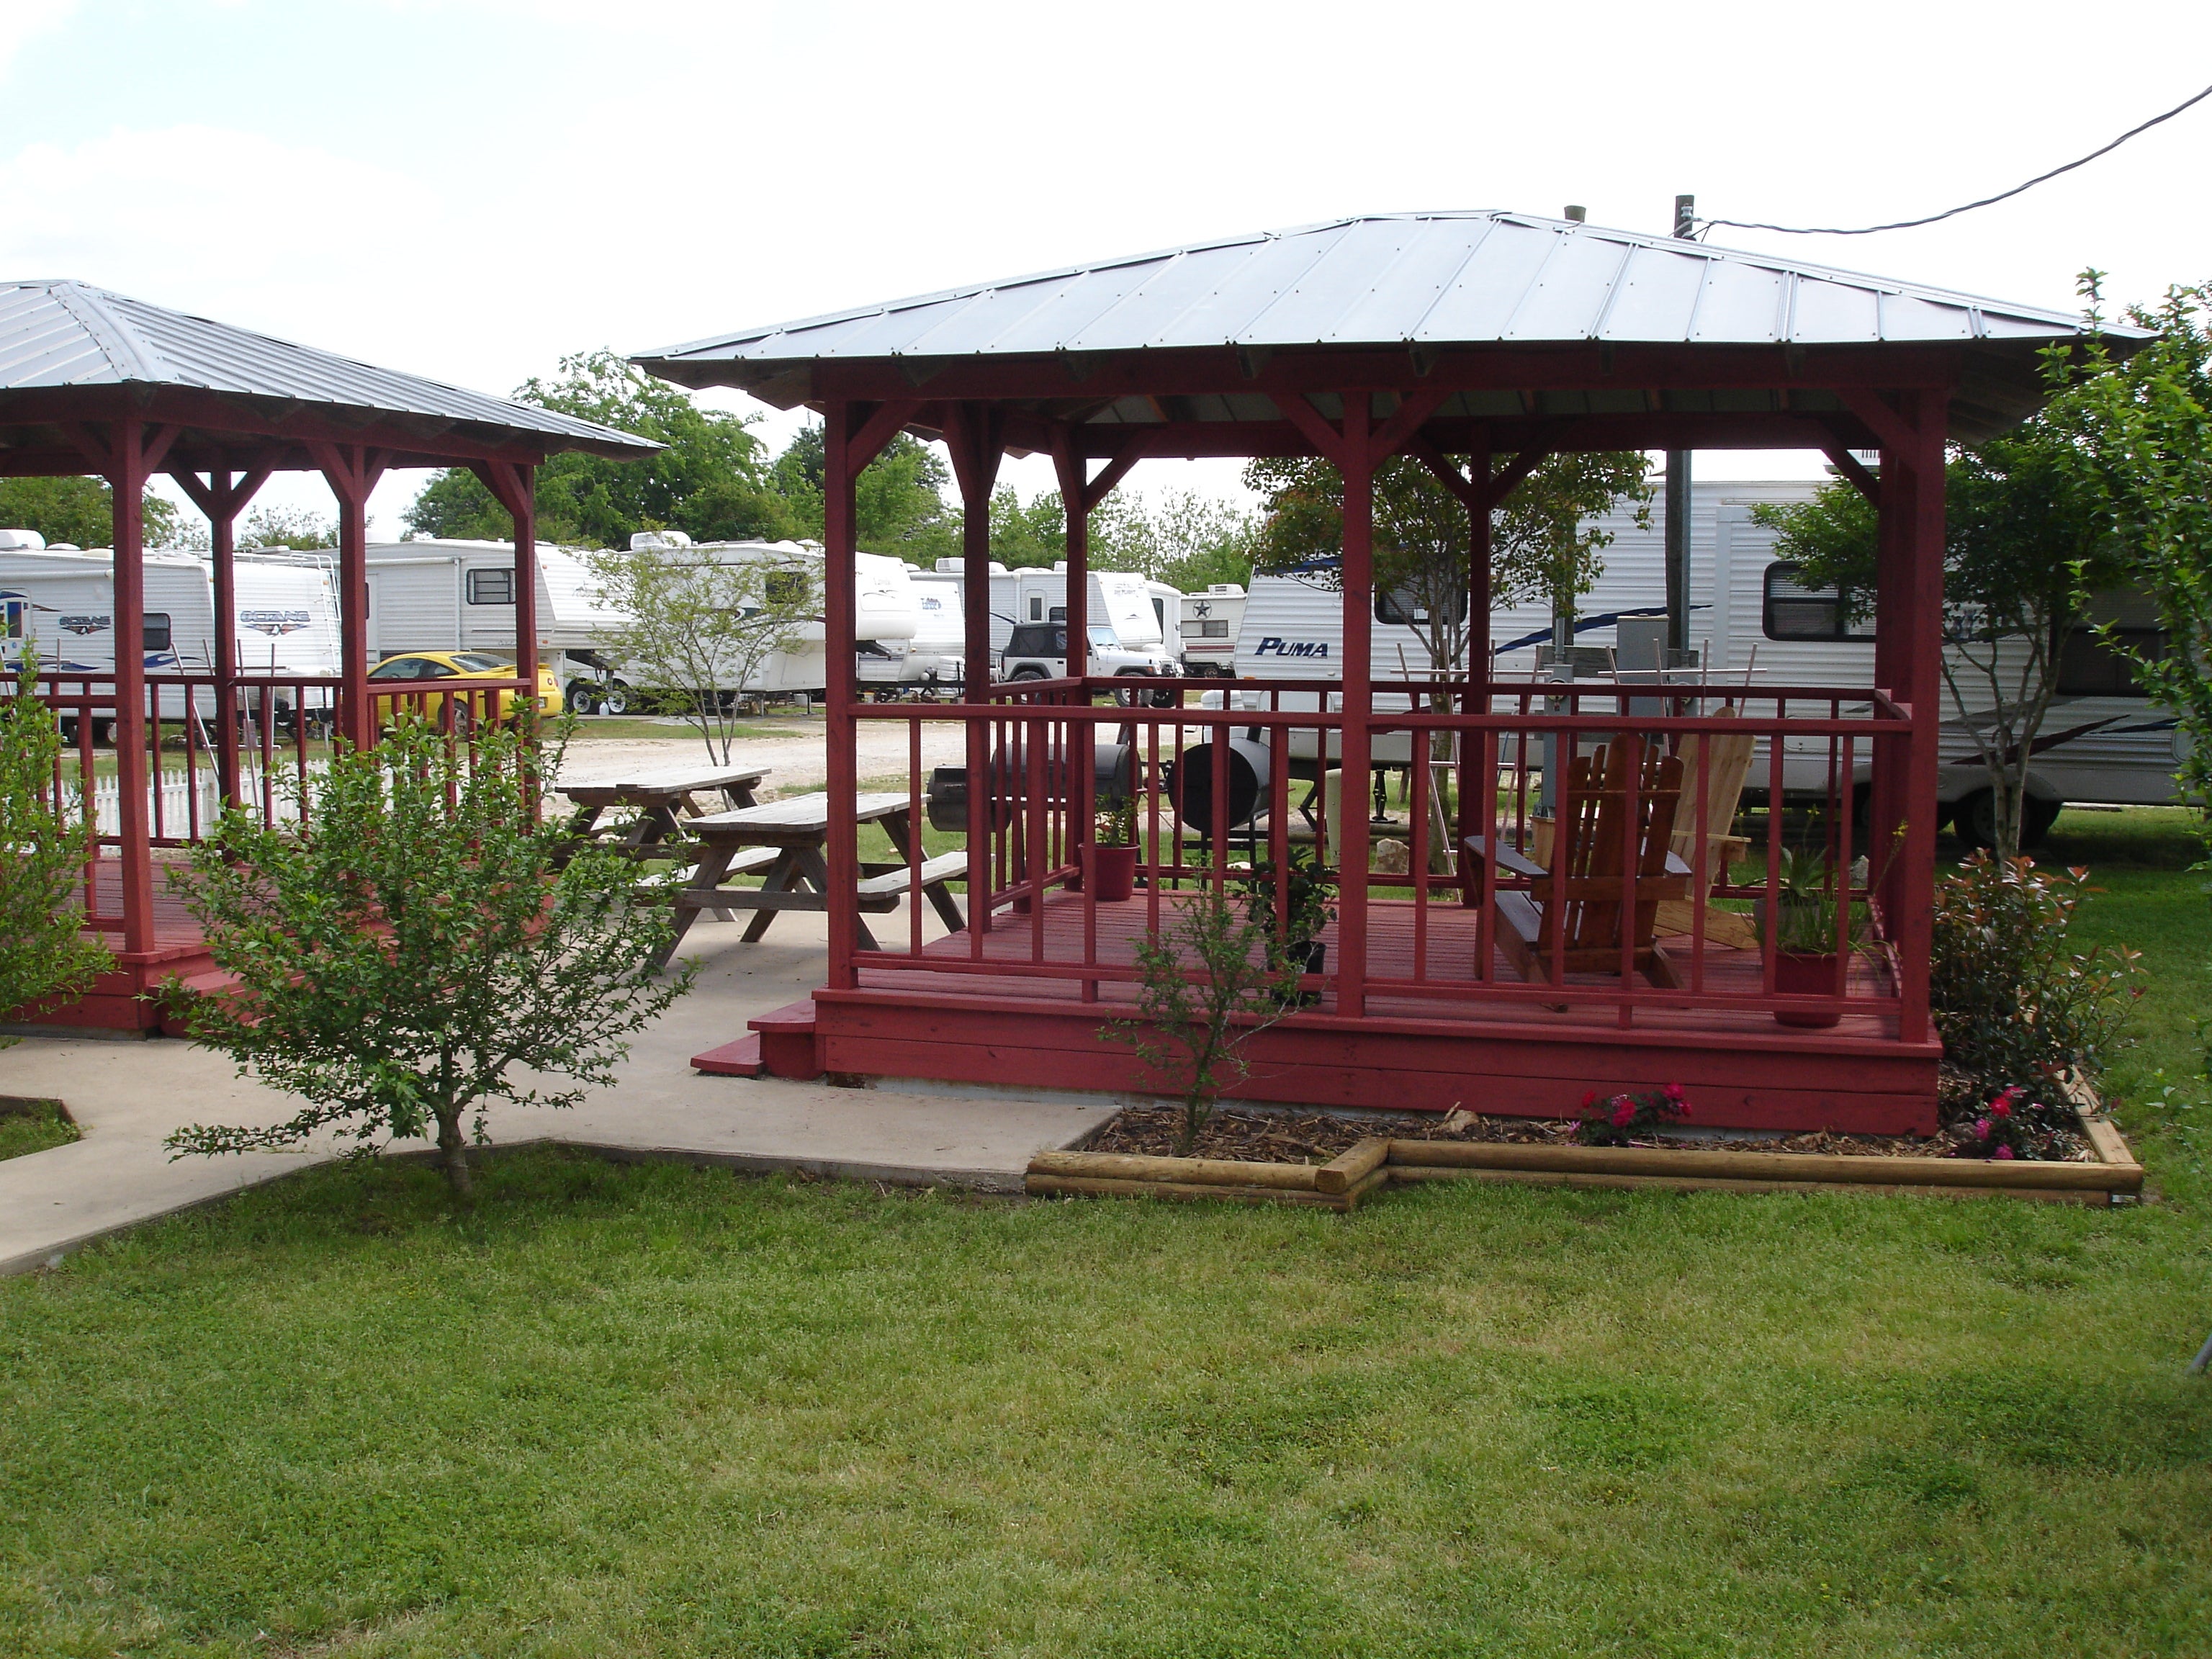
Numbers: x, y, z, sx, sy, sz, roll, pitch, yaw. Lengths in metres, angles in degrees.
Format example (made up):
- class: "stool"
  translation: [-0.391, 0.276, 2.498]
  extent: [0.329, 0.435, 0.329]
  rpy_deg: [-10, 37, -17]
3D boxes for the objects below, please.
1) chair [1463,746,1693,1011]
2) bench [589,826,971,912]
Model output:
- class: "chair"
  translation: [1.894, 0.150, 7.776]
  extent: [0.832, 0.907, 1.083]
  rpy_deg: [1, -3, 1]
- class: "bench"
  translation: [-1.732, 0.182, 10.583]
  extent: [0.833, 0.413, 1.202]
  rpy_deg: [0, 6, 7]
